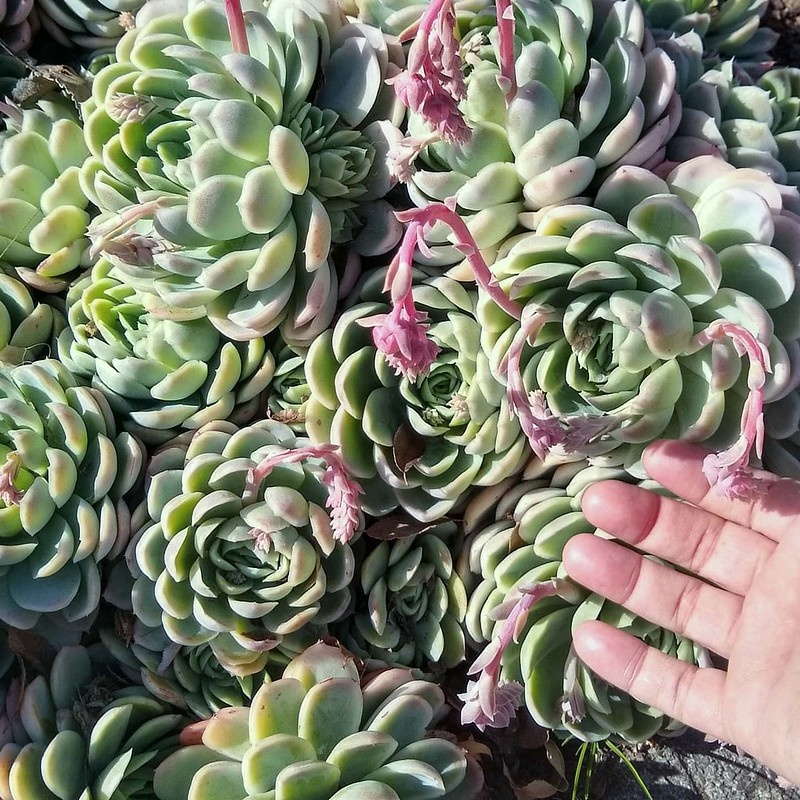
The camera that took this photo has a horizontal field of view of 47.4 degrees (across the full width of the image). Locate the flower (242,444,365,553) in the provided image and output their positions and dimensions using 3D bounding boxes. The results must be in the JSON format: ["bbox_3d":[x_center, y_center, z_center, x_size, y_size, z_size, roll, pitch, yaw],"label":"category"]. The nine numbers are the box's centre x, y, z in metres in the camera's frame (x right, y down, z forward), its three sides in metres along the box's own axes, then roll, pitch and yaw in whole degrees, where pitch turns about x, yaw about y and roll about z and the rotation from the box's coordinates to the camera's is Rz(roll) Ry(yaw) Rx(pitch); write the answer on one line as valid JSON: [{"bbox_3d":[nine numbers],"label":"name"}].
[{"bbox_3d":[-0.112,0.100,1.093,0.126,0.180,0.056,15,104,42],"label":"flower"}]

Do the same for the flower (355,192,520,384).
[{"bbox_3d":[0.051,-0.126,1.089,0.206,0.092,0.202,-23,86,-22],"label":"flower"}]
